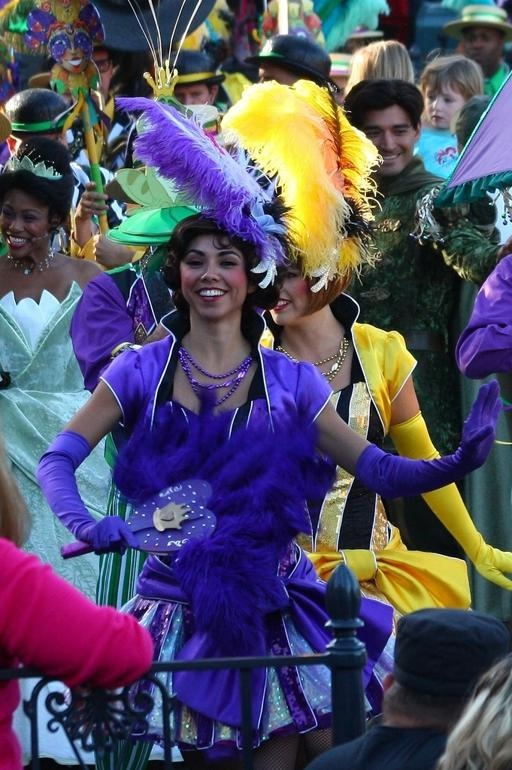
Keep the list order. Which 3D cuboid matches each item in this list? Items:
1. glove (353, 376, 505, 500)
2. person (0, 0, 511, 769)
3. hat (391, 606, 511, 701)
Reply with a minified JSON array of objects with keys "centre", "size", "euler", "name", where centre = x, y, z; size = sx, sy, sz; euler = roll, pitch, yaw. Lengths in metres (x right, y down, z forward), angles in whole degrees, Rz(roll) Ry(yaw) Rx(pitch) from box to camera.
[{"centre":[0.369,0.141,2.240],"size":[0.144,0.115,0.452],"euler":[35,-41,-21],"name":"glove"},{"centre":[0.000,0.072,2.262],"size":[0.799,1.445,1.162],"euler":[2,10,39],"name":"person"},{"centre":[0.282,0.383,1.496],"size":[0.168,0.100,0.098],"euler":[-5,8,-7],"name":"hat"}]
